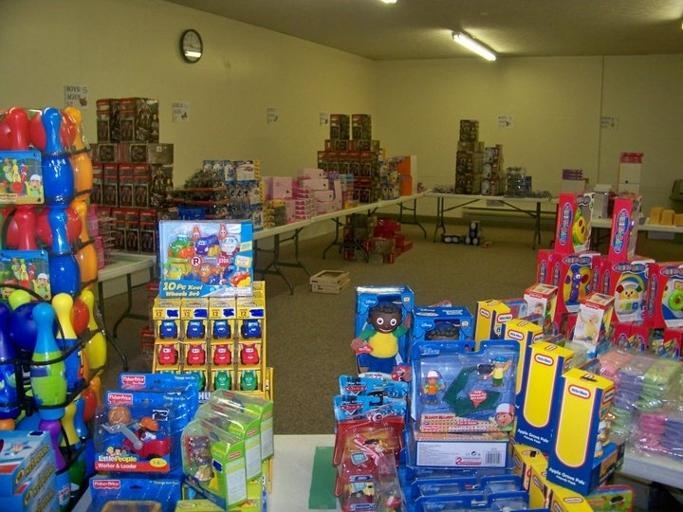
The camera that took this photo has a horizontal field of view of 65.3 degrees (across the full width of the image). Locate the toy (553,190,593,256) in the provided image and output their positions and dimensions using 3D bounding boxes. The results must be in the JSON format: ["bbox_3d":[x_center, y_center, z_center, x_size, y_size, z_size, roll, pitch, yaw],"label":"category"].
[{"bbox_3d":[1.285,-0.189,2.945,0.177,0.327,0.359,6,14,24],"label":"toy"}]

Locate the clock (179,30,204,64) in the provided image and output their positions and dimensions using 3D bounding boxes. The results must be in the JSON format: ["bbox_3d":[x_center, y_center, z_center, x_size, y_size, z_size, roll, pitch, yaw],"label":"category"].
[{"bbox_3d":[-2.041,-2.839,7.260,0.097,0.441,0.455,4,14,18],"label":"clock"}]

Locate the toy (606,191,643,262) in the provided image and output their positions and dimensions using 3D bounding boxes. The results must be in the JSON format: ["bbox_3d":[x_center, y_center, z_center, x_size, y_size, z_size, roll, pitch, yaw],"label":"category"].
[{"bbox_3d":[1.553,-0.157,2.915,0.130,0.332,0.372,6,15,27],"label":"toy"}]
